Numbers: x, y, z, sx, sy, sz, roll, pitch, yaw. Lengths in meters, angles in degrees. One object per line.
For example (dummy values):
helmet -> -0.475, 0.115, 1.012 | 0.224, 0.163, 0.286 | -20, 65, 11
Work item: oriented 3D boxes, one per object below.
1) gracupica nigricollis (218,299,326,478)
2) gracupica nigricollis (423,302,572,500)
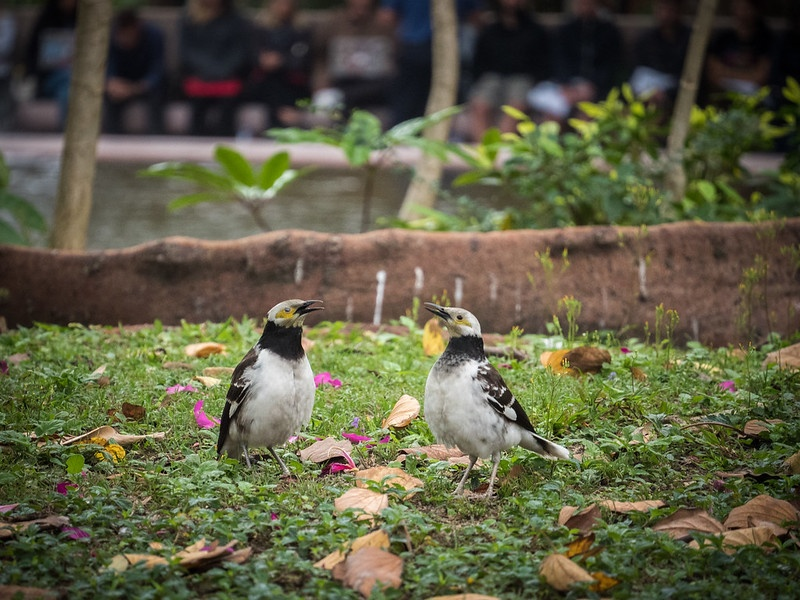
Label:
gracupica nigricollis -> -0.900, 0.477, 7.117 | 0.706, 1.136, 0.894 | -2, 15, -19
gracupica nigricollis -> 0.624, 0.656, 7.183 | 1.240, 1.235, 0.669 | 1, -3, -38
